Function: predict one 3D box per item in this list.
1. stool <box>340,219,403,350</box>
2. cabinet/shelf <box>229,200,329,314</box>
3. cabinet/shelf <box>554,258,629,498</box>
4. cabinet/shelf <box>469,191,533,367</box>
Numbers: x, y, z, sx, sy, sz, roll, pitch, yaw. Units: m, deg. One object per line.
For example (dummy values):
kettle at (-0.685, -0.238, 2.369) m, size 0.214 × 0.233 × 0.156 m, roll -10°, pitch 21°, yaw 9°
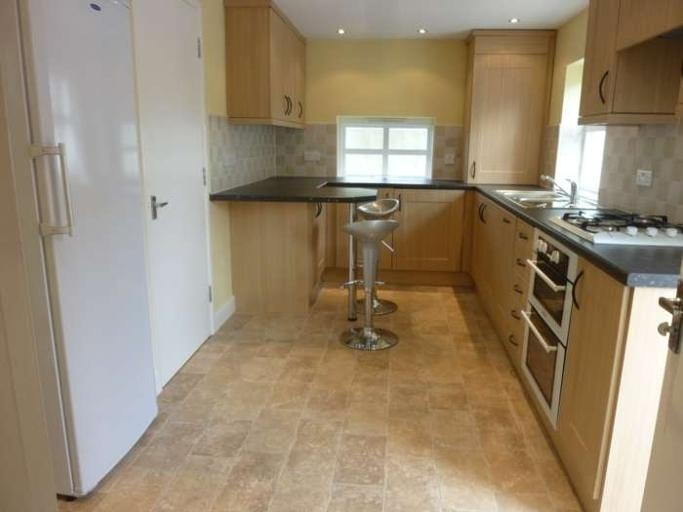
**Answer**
stool at (0.190, 0.184, 3.803) m, size 0.422 × 0.918 × 0.337 m, roll 0°, pitch 13°, yaw 5°
cabinet/shelf at (-0.521, 0.001, 4.955) m, size 0.696 × 1.310 × 1.343 m, roll 1°, pitch 11°, yaw 3°
cabinet/shelf at (1.078, 0.571, 2.315) m, size 0.157 × 1.040 × 0.486 m, roll 2°, pitch 14°, yaw 12°
cabinet/shelf at (1.149, 0.179, 3.829) m, size 0.181 × 0.568 × 1.205 m, roll 1°, pitch 14°, yaw 9°
